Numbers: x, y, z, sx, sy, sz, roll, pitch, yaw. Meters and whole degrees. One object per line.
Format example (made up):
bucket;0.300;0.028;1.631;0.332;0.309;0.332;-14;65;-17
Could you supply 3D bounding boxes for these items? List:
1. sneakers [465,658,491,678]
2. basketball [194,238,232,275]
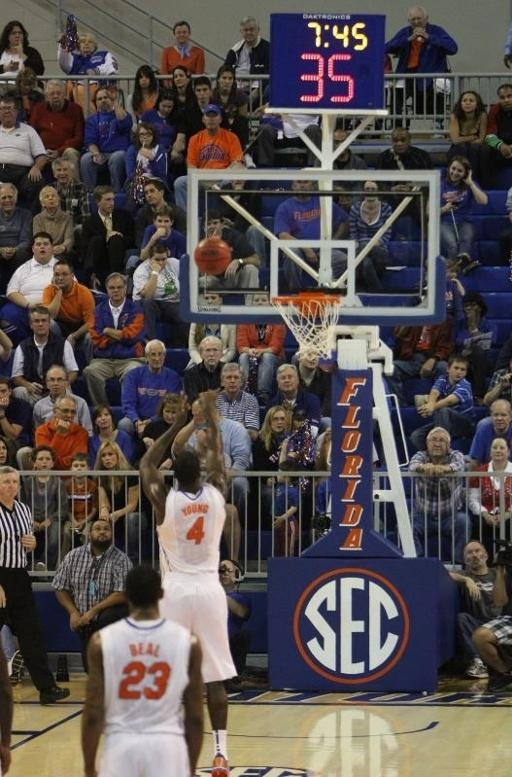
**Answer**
sneakers;1.576;2.011;9.754;0.196;0.135;0.075;1;-1;8
basketball;-0.268;-0.916;9.379;0.260;0.290;0.229;-4;7;11
